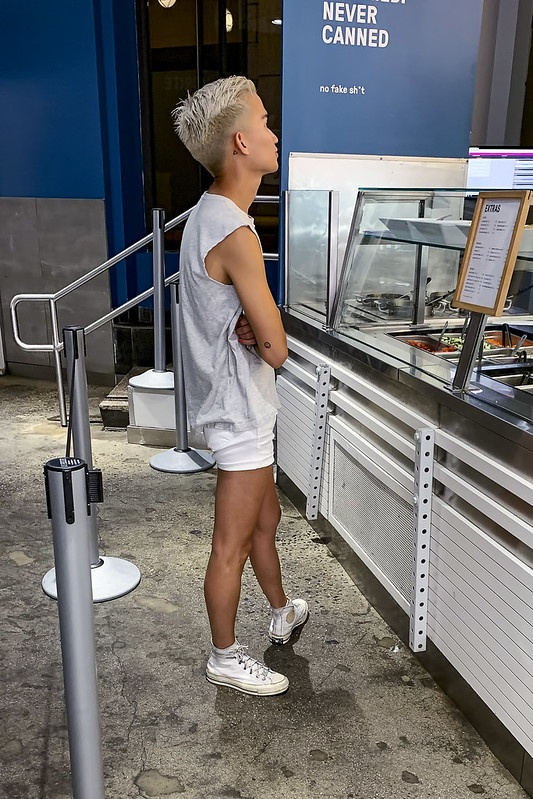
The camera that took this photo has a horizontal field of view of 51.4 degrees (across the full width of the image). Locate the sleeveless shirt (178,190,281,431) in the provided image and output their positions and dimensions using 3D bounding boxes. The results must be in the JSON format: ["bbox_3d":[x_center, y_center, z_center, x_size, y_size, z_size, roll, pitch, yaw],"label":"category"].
[{"bbox_3d":[-0.090,-0.188,1.306,0.241,0.568,0.301,0,6,0],"label":"sleeveless shirt"}]

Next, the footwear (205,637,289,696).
[{"bbox_3d":[-0.050,0.761,1.647,0.294,0.166,0.114,6,17,1],"label":"footwear"}]

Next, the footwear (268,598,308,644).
[{"bbox_3d":[0.090,0.730,1.910,0.073,0.133,0.207,4,22,24],"label":"footwear"}]

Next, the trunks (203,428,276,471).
[{"bbox_3d":[-0.064,0.123,1.415,0.104,0.114,0.155,-5,7,-3],"label":"trunks"}]
